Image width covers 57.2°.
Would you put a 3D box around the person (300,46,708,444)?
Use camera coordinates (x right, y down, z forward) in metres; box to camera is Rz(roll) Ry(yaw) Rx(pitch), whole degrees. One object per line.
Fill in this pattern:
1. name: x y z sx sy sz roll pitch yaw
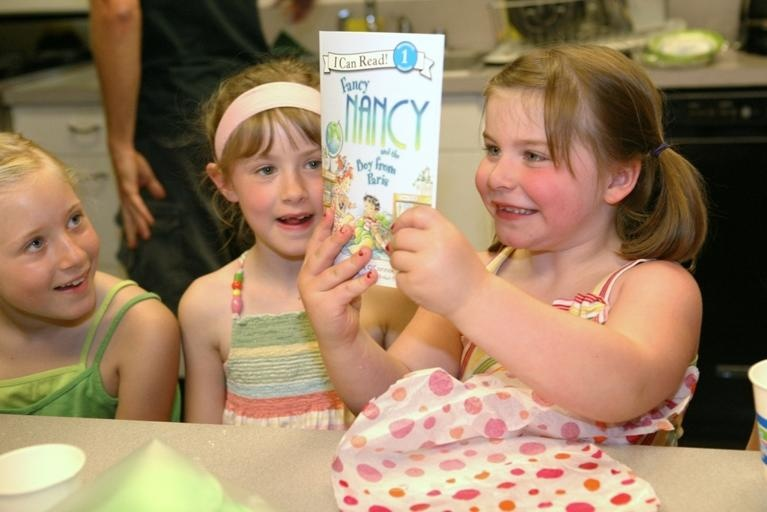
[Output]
1. person: 0.193 -0.032 1.804 0.921 1.076 0.855 0 2 -32
